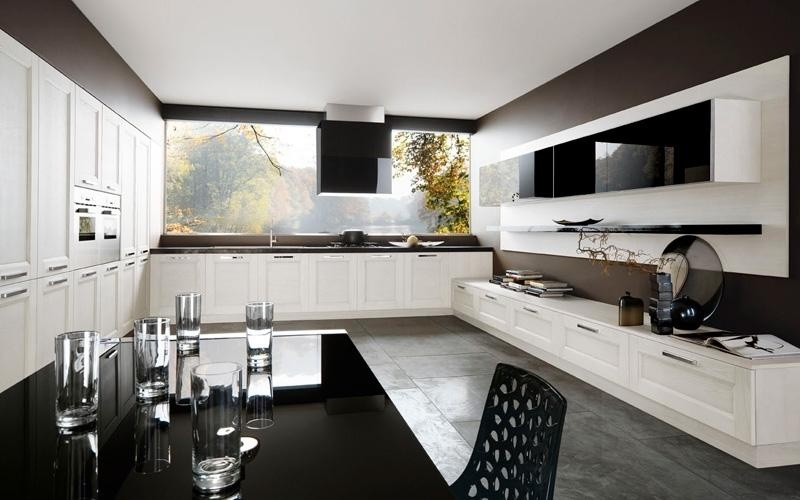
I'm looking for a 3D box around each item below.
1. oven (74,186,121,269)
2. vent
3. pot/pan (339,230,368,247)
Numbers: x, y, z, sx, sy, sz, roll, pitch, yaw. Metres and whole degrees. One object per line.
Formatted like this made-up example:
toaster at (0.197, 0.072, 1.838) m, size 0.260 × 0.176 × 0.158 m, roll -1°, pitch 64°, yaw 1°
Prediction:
oven at (-3.003, -0.225, 4.853) m, size 0.360 × 0.832 × 0.918 m, roll 0°, pitch 0°, yaw -8°
vent at (-0.667, -1.368, 7.232) m, size 1.121 × 1.032 × 0.562 m, roll 1°, pitch 3°, yaw -13°
pot/pan at (-0.731, -0.144, 7.640) m, size 0.334 × 0.167 × 0.277 m, roll 1°, pitch -3°, yaw -11°
